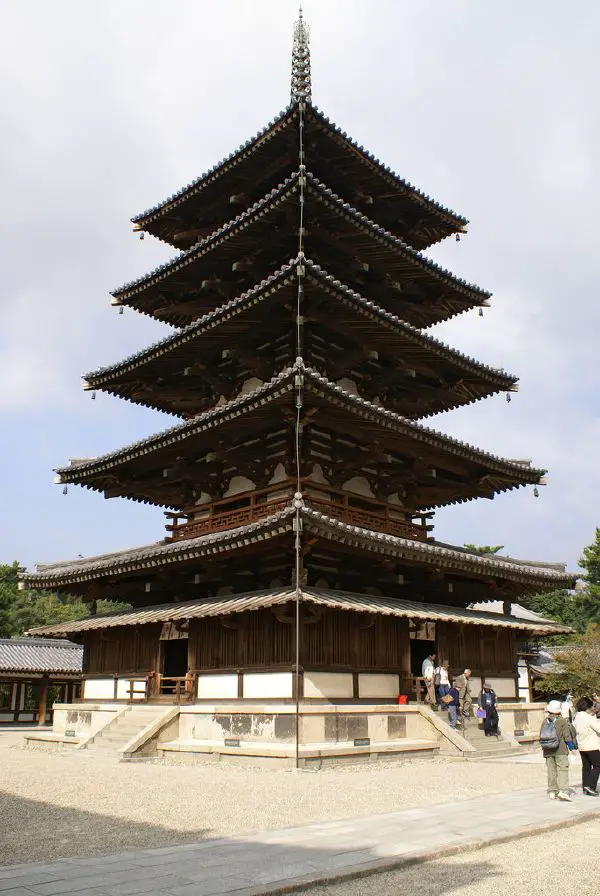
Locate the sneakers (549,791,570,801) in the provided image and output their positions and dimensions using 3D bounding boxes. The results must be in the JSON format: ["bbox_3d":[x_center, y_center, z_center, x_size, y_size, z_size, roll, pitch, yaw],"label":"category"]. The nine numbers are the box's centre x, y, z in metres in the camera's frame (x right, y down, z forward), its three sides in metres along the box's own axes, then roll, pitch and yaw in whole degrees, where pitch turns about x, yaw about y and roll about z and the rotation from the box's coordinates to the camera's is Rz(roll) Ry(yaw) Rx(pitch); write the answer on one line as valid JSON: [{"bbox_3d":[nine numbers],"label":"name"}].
[{"bbox_3d":[3.407,4.608,11.694,0.240,0.121,0.476,1,-20,-3],"label":"sneakers"}]

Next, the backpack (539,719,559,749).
[{"bbox_3d":[3.290,3.856,11.898,0.219,0.409,0.343,4,-21,-11],"label":"backpack"}]
